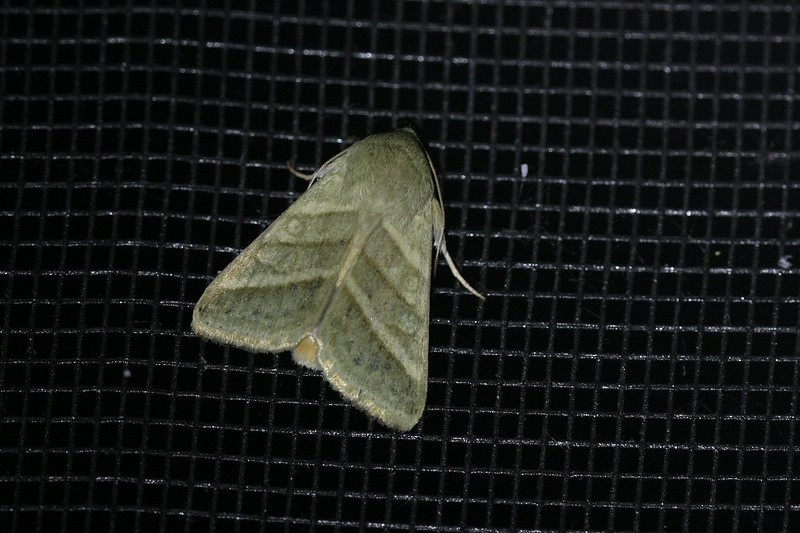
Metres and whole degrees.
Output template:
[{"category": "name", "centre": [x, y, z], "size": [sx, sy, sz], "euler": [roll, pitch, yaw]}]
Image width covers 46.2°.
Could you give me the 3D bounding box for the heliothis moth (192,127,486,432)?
[{"category": "heliothis moth", "centre": [-0.140, -0.021, 3.150], "size": [0.825, 0.269, 0.880], "euler": [27, 68, -1]}]
